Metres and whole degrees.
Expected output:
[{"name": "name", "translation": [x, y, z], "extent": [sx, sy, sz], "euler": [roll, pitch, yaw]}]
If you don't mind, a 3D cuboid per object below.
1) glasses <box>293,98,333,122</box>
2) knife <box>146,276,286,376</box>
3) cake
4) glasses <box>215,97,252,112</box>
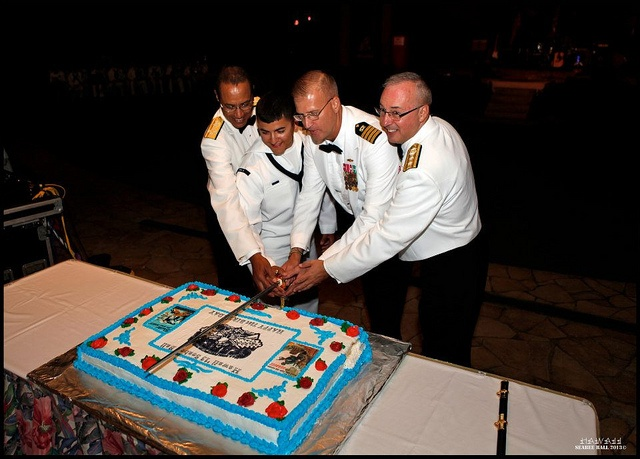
[{"name": "glasses", "translation": [-0.043, -0.667, 2.164], "extent": [0.140, 0.041, 0.144], "euler": [11, 49, 49]}, {"name": "knife", "translation": [-0.486, 0.461, 1.899], "extent": [0.063, 0.025, 0.626], "euler": [-12, 18, 49]}, {"name": "cake", "translation": [-0.447, 0.554, 1.784], "extent": [0.921, 0.177, 0.557], "euler": [13, 28, 26]}, {"name": "glasses", "translation": [-0.503, -0.766, 2.490], "extent": [0.192, 0.078, 0.148], "euler": [-3, 26, -11]}]
